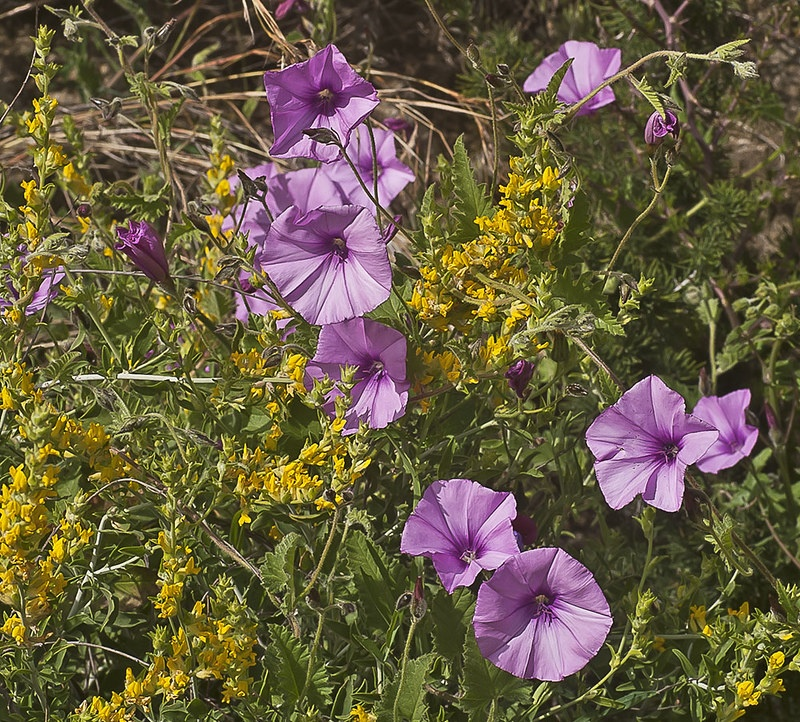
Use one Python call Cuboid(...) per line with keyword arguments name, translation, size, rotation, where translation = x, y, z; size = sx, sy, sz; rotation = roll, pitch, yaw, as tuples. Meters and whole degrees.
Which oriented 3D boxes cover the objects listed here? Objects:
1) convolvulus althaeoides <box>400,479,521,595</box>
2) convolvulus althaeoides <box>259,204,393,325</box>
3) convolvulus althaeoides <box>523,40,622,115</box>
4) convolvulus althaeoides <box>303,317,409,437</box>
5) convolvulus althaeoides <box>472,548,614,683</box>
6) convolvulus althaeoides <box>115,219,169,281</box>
Cuboid(name="convolvulus althaeoides", translation=(0.108, 0.283, 1.784), size=(0.083, 0.213, 0.219), rotation=(26, 85, 20))
Cuboid(name="convolvulus althaeoides", translation=(-0.118, -0.153, 1.814), size=(0.215, 0.107, 0.169), rotation=(7, 71, 5))
Cuboid(name="convolvulus althaeoides", translation=(0.356, -0.572, 2.322), size=(0.166, 0.207, 0.105), rotation=(-13, 106, 23))
Cuboid(name="convolvulus althaeoides", translation=(-0.071, 0.029, 1.811), size=(0.170, 0.099, 0.174), rotation=(-4, 70, 1))
Cuboid(name="convolvulus althaeoides", translation=(0.228, 0.384, 1.740), size=(0.064, 0.201, 0.222), rotation=(-3, 96, -19))
Cuboid(name="convolvulus althaeoides", translation=(-0.421, -0.180, 1.891), size=(0.066, 0.051, 0.111), rotation=(-38, 111, -24))
